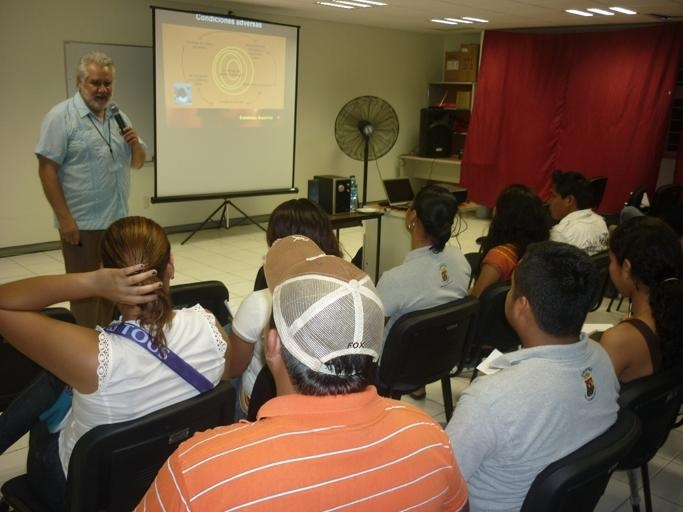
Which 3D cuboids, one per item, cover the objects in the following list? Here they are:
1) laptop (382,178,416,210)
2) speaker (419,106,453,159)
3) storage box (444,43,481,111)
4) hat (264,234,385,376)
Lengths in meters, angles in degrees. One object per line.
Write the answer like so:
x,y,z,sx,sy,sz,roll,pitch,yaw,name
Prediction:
0.625,-0.677,5.215,0.284,0.276,0.397,13,18,41,laptop
1.684,-2.157,8.647,0.570,0.836,0.285,4,20,8,speaker
2.138,-3.320,8.719,0.206,0.770,0.744,-14,26,-34,storage box
-0.059,0.054,1.057,0.182,0.121,0.302,-6,52,-26,hat
